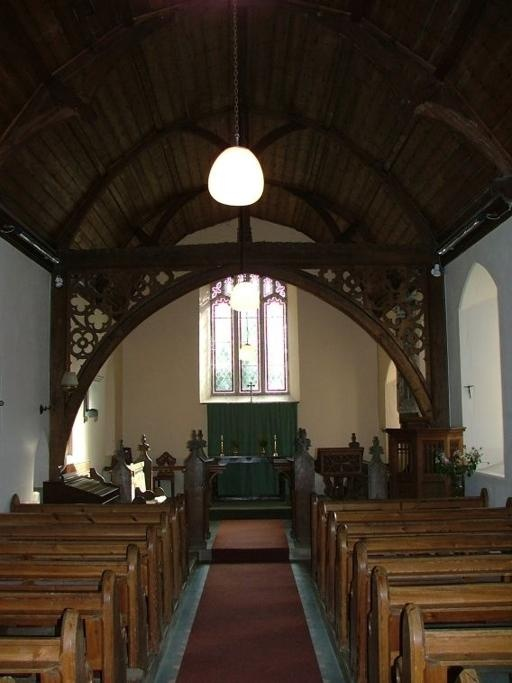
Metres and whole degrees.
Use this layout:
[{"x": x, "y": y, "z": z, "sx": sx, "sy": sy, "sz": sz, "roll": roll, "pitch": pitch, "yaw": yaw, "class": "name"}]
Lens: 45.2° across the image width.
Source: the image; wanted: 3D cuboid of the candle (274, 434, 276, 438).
[{"x": 0.362, "y": 1.855, "z": 12.025, "sx": 0.068, "sy": 0.092, "sz": 0.016, "roll": 2, "pitch": -7, "yaw": 3, "class": "candle"}]

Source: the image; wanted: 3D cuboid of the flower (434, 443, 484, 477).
[{"x": 2.059, "y": 1.237, "z": 6.256, "sx": 0.407, "sy": 0.330, "sz": 0.468, "roll": -5, "pitch": -13, "yaw": 14, "class": "flower"}]

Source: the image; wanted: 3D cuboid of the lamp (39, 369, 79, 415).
[{"x": -2.186, "y": 0.541, "z": 6.973, "sx": 0.603, "sy": 0.269, "sz": 0.274, "roll": -18, "pitch": -18, "yaw": 30, "class": "lamp"}]
